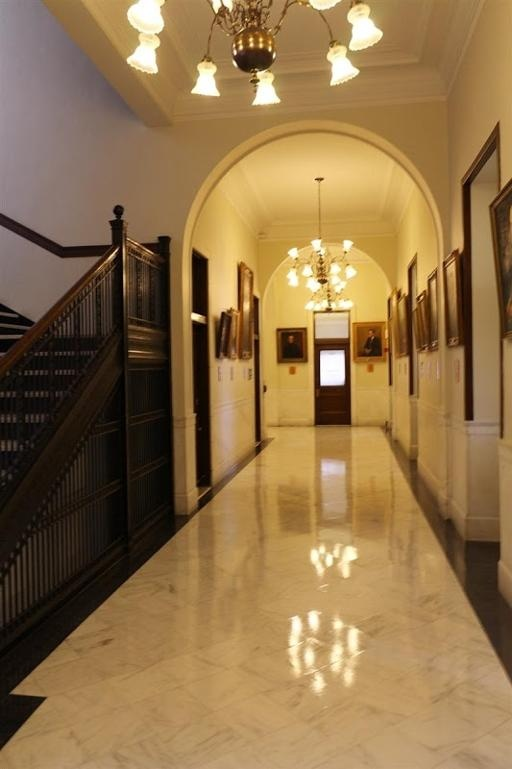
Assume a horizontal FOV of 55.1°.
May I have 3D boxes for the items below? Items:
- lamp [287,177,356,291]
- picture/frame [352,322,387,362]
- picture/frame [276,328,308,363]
[{"bbox_3d":[1.452,-3.462,11.065,1.350,3.301,1.430,-1,2,-3],"label":"lamp"},{"bbox_3d":[3.444,-1.271,14.737,0.907,1.342,0.084,-1,-3,8],"label":"picture/frame"},{"bbox_3d":[1.143,-1.197,15.119,0.817,1.169,0.073,-1,-3,7],"label":"picture/frame"}]
